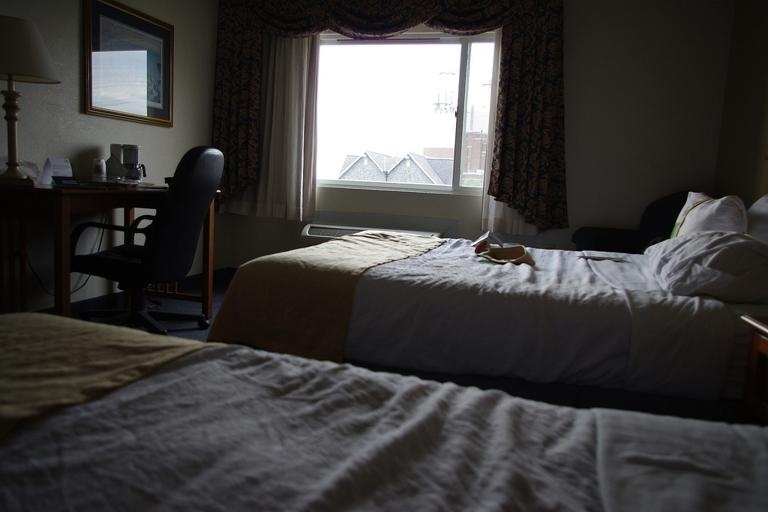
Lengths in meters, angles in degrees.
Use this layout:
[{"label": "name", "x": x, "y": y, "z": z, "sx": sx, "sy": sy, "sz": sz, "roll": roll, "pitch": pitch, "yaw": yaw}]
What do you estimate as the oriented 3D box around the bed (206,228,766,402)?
[{"label": "bed", "x": 0.454, "y": 0.267, "z": 2.437, "sx": 1.474, "sy": 0.349, "sz": 1.010, "roll": 2, "pitch": 4, "yaw": 16}]
